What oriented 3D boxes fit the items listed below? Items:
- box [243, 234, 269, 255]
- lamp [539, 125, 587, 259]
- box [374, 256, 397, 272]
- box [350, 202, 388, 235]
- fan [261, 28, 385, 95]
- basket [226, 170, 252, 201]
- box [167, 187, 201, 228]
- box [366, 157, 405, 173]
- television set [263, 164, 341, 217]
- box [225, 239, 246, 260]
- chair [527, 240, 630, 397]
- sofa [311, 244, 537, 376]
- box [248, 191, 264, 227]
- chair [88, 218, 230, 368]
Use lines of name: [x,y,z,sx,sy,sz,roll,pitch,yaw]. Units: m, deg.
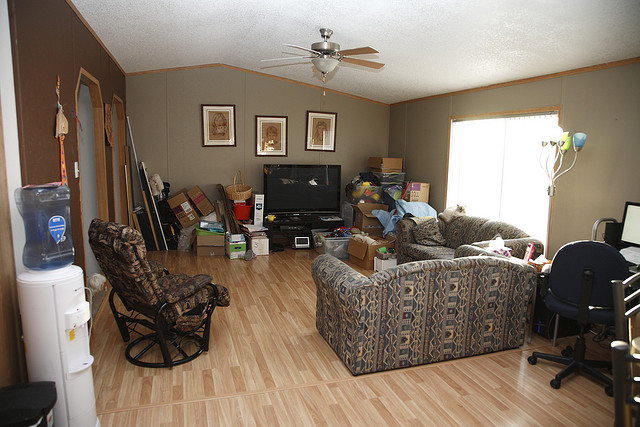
box: [-1.132,0.459,7.646,0.282,0.347,0.501,-2,16,-38]
lamp: [2.974,-0.250,5.615,0.465,1.742,0.653,-5,10,-24]
box: [1.010,0.821,6.669,0.203,0.248,0.360,-3,7,-17]
box: [0.840,0.076,7.806,0.772,0.704,0.518,0,5,-16]
fan: [0.014,-2.260,6.366,1.054,0.507,1.064,0,5,-4]
basket: [-1.515,-0.497,8.042,0.579,0.597,0.575,0,10,12]
box: [-2.681,-0.160,7.909,0.866,0.191,0.592,-26,4,14]
box: [1.328,-0.954,8.451,0.436,0.205,0.419,-3,9,-27]
television set: [-0.343,-0.460,8.230,1.585,0.968,0.112,-1,10,-19]
box: [-1.465,0.611,7.355,0.307,0.286,0.296,-1,8,-36]
chair: [2.625,0.976,4.324,0.842,1.406,0.828,-4,8,-42]
sofa: [1.079,0.911,4.753,2.162,0.988,1.134,-1,8,-18]
box: [-1.167,-0.061,7.814,0.202,0.599,0.594,-1,6,-13]
chair: [-1.626,0.804,4.522,1.173,1.383,1.309,4,10,10]
